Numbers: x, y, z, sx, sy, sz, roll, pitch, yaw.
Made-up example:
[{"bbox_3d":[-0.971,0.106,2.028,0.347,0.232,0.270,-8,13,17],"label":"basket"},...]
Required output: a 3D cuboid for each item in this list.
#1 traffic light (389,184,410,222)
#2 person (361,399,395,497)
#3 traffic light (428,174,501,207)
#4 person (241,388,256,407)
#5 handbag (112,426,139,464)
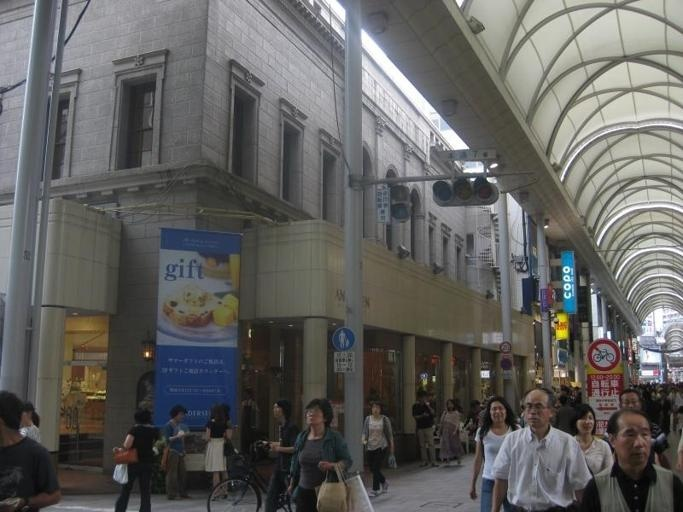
[{"bbox_3d":[1.522,-1.497,16.441,0.506,1.170,1.043,-1,-13,4],"label":"traffic light"},{"bbox_3d":[0.830,4.299,14.258,0.706,1.994,1.280,-1,-13,2],"label":"person"},{"bbox_3d":[2.957,-1.557,15.103,1.484,0.793,0.729,-3,-13,11],"label":"traffic light"},{"bbox_3d":[-2.691,4.105,18.452,0.157,0.553,0.805,-3,-14,13],"label":"person"},{"bbox_3d":[-3.434,3.085,10.130,0.346,0.476,0.264,5,-14,-21],"label":"handbag"}]
